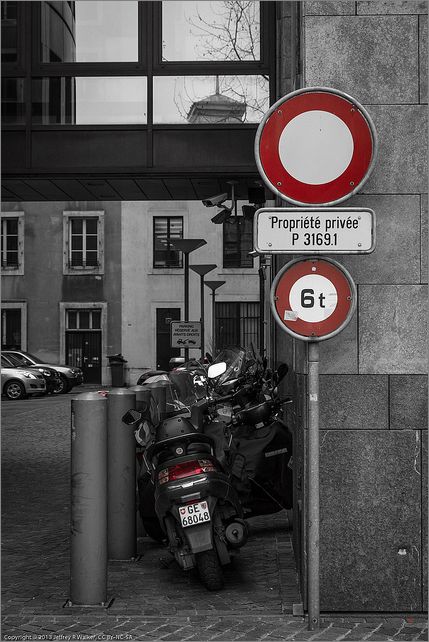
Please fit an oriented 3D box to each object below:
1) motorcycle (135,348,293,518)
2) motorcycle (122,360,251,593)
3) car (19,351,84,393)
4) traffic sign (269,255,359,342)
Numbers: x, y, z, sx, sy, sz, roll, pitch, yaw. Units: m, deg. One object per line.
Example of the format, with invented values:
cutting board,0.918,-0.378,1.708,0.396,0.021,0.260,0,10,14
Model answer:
motorcycle,0.074,0.905,6.543,0.679,1.002,1.547,-22,0,13
motorcycle,-0.145,1.038,6.140,0.677,1.251,1.065,-1,0,-1
car,-4.597,1.425,28.566,1.694,0.991,0.919,0,1,-1
traffic sign,0.506,-0.103,5.220,0.438,0.570,0.072,1,-37,6
